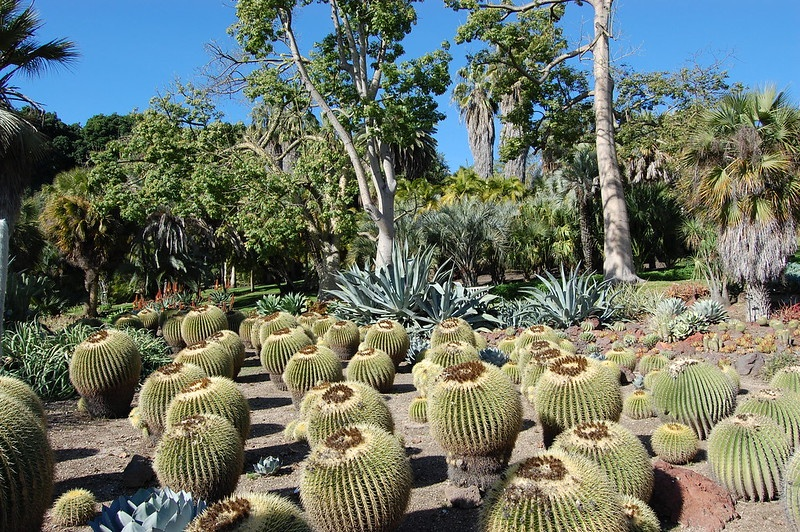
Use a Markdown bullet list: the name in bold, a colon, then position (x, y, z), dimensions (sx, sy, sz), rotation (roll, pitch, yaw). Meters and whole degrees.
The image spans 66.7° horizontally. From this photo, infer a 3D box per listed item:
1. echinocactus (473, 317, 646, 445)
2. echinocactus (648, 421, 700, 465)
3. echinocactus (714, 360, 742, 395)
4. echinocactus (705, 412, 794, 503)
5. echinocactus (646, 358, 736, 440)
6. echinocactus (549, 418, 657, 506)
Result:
- **echinocactus**: position (1.803, 1.236, 6.625), dimensions (0.910, 1.001, 0.945), rotation (-5, 12, 39)
- **echinocactus**: position (3.039, 1.973, 6.727), dimensions (0.424, 0.358, 0.445), rotation (-4, -3, 25)
- **echinocactus**: position (4.188, 1.459, 7.738), dimensions (0.308, 0.390, 0.245), rotation (-28, -4, 15)
- **echinocactus**: position (3.589, 1.979, 6.474), dimensions (0.777, 0.857, 0.814), rotation (-15, 2, 17)
- **echinocactus**: position (3.659, 1.510, 7.412), dimensions (0.866, 0.941, 0.858), rotation (-22, 0, 43)
- **echinocactus**: position (2.037, 1.717, 5.966), dimensions (0.770, 0.810, 0.813), rotation (-4, 17, 24)
